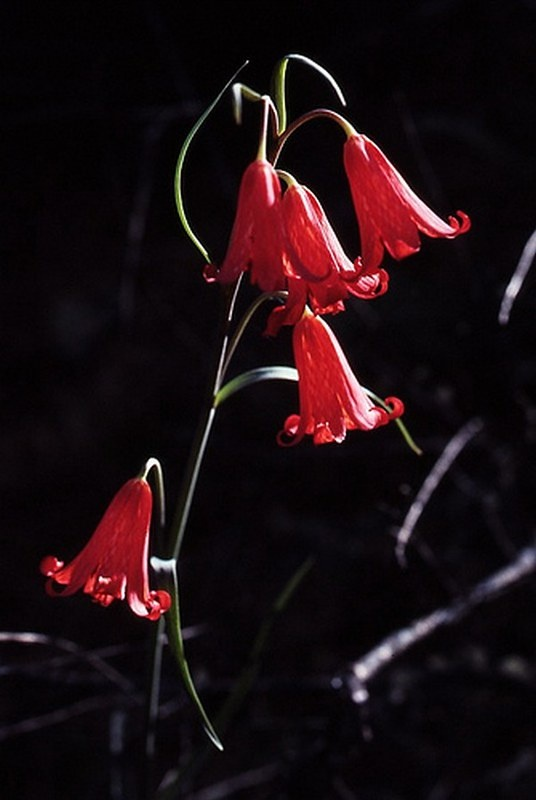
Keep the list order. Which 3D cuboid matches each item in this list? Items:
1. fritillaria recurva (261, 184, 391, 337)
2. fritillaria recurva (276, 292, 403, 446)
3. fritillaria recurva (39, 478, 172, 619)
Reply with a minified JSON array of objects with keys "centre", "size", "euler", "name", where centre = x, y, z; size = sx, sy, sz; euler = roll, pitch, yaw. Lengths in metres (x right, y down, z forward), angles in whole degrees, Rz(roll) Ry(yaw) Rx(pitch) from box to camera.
[{"centre":[0.065,-0.161,0.957],"size":[0.133,0.171,0.090],"euler":[4,-34,-16],"name":"fritillaria recurva"},{"centre":[0.068,-0.045,1.009],"size":[0.134,0.167,0.142],"euler":[-25,17,-40],"name":"fritillaria recurva"},{"centre":[-0.192,0.185,0.993],"size":[0.135,0.158,0.057],"euler":[-16,-33,15],"name":"fritillaria recurva"}]
